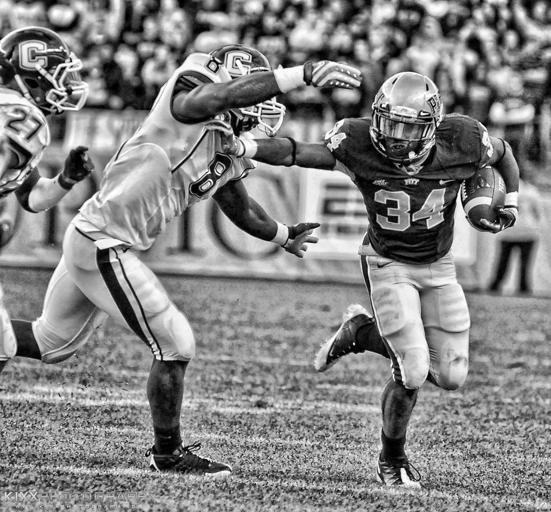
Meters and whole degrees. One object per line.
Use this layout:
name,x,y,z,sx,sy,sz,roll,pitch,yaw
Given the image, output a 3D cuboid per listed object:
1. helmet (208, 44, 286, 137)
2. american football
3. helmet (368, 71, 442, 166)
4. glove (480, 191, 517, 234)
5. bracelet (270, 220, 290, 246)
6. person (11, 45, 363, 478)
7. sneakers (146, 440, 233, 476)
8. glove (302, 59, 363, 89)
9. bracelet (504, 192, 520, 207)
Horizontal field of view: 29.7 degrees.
helmet,-0.172,-0.806,5.012,0.503,0.427,0.355,-4,8,-14
american football,1.011,-0.279,5.206,0.202,0.202,0.336,21,39,-28
helmet,0.619,-0.659,4.979,0.342,0.451,0.252,6,8,6
glove,1.132,-0.201,5.232,0.140,0.113,0.266,36,-43,-27
bracelet,0.025,-0.115,5.427,0.097,0.105,0.100,6,13,-17
person,-0.525,-0.021,4.885,1.438,1.951,0.751,4,8,-10
sneakers,-0.415,0.935,4.791,0.453,0.163,0.137,4,-3,-7
glove,0.251,-0.826,4.756,0.244,0.121,0.064,5,-9,-8
bracelet,1.204,-0.291,5.337,0.085,0.072,0.079,6,0,-38
